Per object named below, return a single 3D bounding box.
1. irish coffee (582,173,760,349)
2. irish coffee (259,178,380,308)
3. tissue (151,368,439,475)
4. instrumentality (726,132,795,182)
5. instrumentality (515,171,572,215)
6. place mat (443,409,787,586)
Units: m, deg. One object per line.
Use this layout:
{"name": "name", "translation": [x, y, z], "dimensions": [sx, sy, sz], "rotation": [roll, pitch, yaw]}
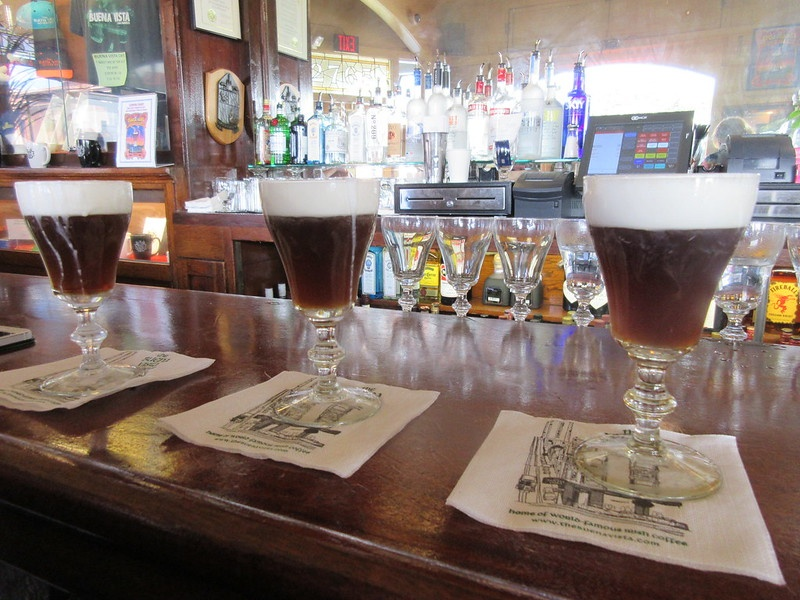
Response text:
{"name": "irish coffee", "translation": [0.284, -0.031, 0.583], "dimensions": [0.174, 0.168, 0.166], "rotation": [5, 2, 39]}
{"name": "irish coffee", "translation": [-0.089, -0.080, 0.738], "dimensions": [0.188, 0.170, 0.168], "rotation": [-2, 10, -4]}
{"name": "tissue", "translation": [-0.119, 0.137, 0.669], "dimensions": [0.256, 0.021, 0.219], "rotation": [2, 12, 28]}
{"name": "instrumentality", "translation": [1.332, -0.516, 1.994], "dimensions": [0.252, 0.179, 0.198], "rotation": [-7, 16, -28]}
{"name": "instrumentality", "translation": [0.573, -0.421, 2.193], "dimensions": [0.213, 0.138, 0.215], "rotation": [3, 9, 26]}
{"name": "place mat", "translation": [0.198, 0.172, 0.531], "dimensions": [0.261, 0.024, 0.206], "rotation": [5, 14, 18]}
